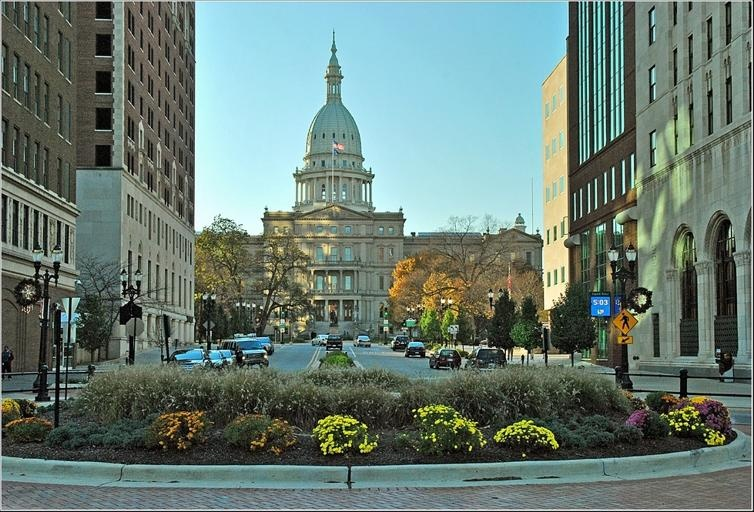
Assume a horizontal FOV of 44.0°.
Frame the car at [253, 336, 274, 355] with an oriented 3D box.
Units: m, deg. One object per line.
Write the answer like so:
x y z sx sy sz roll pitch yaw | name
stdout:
-9.210 7.007 75.412 1.498 1.370 3.381 -1 -10 -3 | car

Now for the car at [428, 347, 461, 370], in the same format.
4.396 6.543 60.514 1.791 1.538 3.971 -2 -12 -1 | car

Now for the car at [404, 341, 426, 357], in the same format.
3.362 8.243 83.249 1.670 1.675 2.927 -2 -12 1 | car

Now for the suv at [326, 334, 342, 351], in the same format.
-4.398 8.674 94.012 1.675 1.388 3.743 0 -8 -1 | suv

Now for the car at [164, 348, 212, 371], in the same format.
-8.964 4.858 44.372 1.703 1.435 3.824 -2 -12 -1 | car

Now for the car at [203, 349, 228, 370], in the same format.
-8.468 5.339 48.724 1.329 1.134 2.325 1 -17 -11 | car

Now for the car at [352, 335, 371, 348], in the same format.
-1.781 10.497 115.381 1.532 1.622 2.766 0 -12 -9 | car
